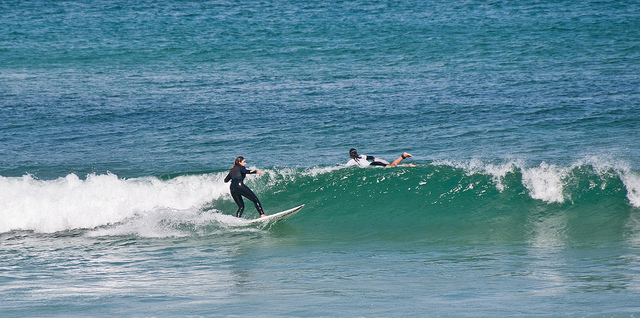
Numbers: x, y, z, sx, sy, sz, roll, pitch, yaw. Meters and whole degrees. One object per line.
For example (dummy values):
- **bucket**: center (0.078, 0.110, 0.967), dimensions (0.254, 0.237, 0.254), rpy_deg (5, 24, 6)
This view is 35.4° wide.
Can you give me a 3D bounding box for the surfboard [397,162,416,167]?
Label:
- **surfboard**: center (6.256, 0.464, 71.422), dimensions (1.041, 0.283, 0.274), rpy_deg (-9, -17, 16)
